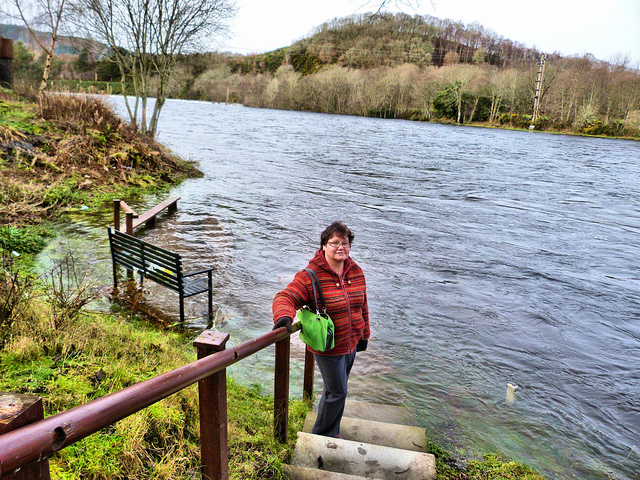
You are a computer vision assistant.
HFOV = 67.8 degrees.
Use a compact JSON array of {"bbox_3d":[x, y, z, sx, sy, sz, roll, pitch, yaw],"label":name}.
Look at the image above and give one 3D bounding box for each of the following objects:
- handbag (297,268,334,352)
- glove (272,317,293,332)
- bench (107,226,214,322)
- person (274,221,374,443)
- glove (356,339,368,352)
[{"bbox_3d":[-0.016,0.764,5.010,0.378,0.840,0.367,3,12,4],"label":"handbag"},{"bbox_3d":[-0.341,0.822,4.613,0.217,0.144,0.093,-3,13,-25],"label":"glove"},{"bbox_3d":[-2.920,0.663,8.781,1.616,0.812,0.544,17,26,36],"label":"bench"},{"bbox_3d":[0.048,1.018,5.168,1.216,2.356,0.506,-8,16,-40],"label":"person"},{"bbox_3d":[0.499,1.216,5.544,0.111,0.143,0.151,2,0,14],"label":"glove"}]
